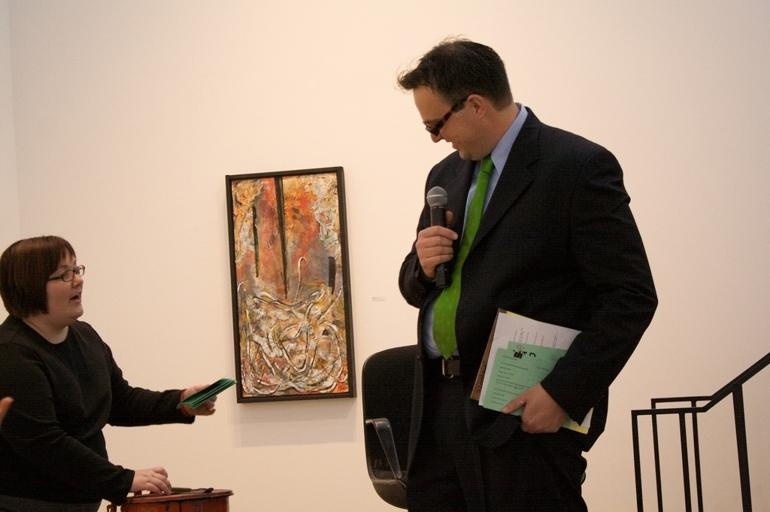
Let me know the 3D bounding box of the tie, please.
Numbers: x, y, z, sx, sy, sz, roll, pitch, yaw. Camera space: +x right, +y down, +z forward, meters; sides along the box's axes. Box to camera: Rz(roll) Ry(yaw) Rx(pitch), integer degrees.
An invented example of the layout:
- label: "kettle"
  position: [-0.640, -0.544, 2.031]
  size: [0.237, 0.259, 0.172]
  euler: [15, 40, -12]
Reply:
- label: "tie"
  position: [0.353, 0.033, 3.293]
  size: [0.137, 1.050, 0.230]
  euler: [6, -5, 38]

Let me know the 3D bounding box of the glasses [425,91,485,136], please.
- label: "glasses"
  position: [0.336, -0.676, 3.261]
  size: [0.064, 0.238, 0.215]
  euler: [47, -30, -6]
